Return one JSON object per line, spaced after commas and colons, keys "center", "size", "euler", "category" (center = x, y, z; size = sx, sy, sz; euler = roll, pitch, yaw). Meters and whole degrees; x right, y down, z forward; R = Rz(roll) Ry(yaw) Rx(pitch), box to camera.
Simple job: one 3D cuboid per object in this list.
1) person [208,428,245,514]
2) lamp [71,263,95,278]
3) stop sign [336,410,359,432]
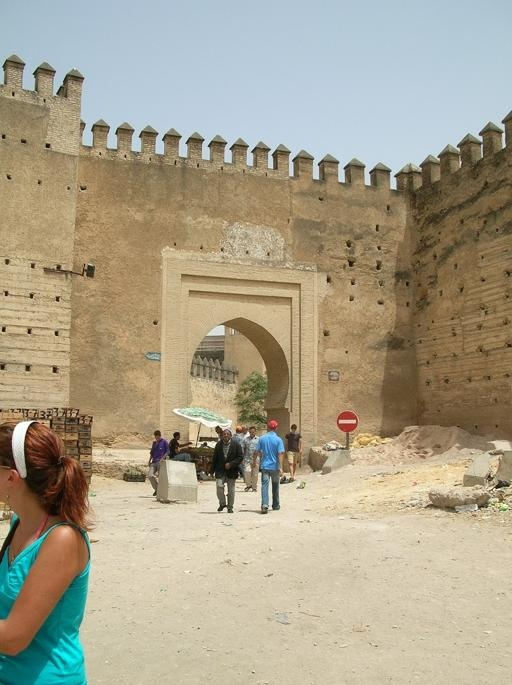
{"center": [-0.405, 1.705, 10.717], "size": [0.374, 1.069, 0.792], "euler": [4, -7, -2], "category": "person"}
{"center": [-3.870, -1.597, 17.705], "size": [0.485, 0.216, 0.264], "euler": [0, 13, -6], "category": "lamp"}
{"center": [1.806, 1.557, 15.763], "size": [0.335, 0.418, 0.737], "euler": [2, -7, 9], "category": "stop sign"}
